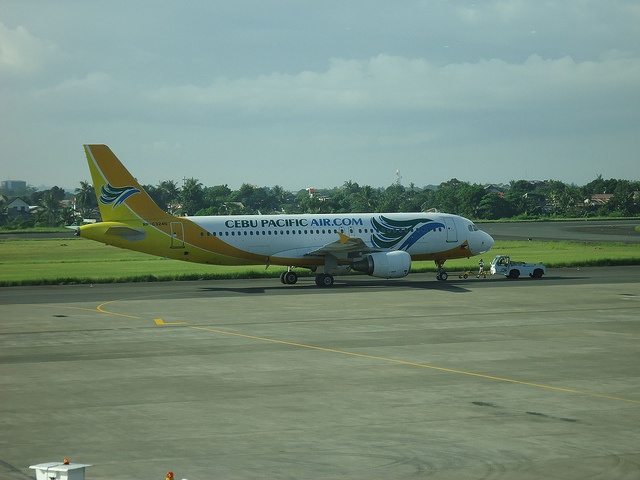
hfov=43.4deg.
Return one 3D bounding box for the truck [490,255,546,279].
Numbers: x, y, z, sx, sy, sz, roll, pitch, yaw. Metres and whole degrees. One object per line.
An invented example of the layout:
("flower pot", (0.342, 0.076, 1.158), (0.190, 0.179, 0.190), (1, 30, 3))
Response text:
("truck", (15.078, 2.042, 60.765), (3.236, 1.027, 2.002), (0, 1, 0))
